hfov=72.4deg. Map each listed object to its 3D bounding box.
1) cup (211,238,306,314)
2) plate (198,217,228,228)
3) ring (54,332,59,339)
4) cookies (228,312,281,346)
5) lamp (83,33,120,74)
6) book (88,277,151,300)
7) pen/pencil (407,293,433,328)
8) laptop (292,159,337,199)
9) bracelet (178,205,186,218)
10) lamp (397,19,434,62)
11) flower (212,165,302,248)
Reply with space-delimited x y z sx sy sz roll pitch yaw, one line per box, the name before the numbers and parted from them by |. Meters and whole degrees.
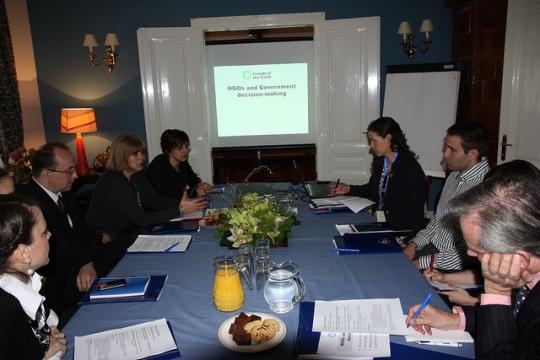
cup | -0.003 0.523 2.041 0.367 0.305 0.233 -9 17 6
plate | -0.465 0.347 2.928 0.163 0.032 0.118 2 21 -4
ring | -1.068 0.774 1.844 0.023 0.013 0.032 4 5 -10
cookies | -0.075 0.720 1.787 0.152 0.045 0.149 2 30 -5
lamp | -2.464 -1.863 5.423 0.282 0.494 0.588 11 16 17
book | -0.867 0.606 2.127 0.322 0.066 0.180 -5 14 -2
pen/pencil | 0.756 0.662 1.855 0.020 0.171 0.019 32 5 -32
laptop | 0.456 0.049 3.742 0.397 0.263 0.437 -8 19 0
bracelet | -0.768 0.271 3.221 0.070 0.018 0.073 16 45 -1
lamp | 2.051 -1.999 5.220 0.589 0.479 0.276 -9 10 -15
flower | -0.124 0.272 2.534 0.559 0.229 0.506 8 21 -14
